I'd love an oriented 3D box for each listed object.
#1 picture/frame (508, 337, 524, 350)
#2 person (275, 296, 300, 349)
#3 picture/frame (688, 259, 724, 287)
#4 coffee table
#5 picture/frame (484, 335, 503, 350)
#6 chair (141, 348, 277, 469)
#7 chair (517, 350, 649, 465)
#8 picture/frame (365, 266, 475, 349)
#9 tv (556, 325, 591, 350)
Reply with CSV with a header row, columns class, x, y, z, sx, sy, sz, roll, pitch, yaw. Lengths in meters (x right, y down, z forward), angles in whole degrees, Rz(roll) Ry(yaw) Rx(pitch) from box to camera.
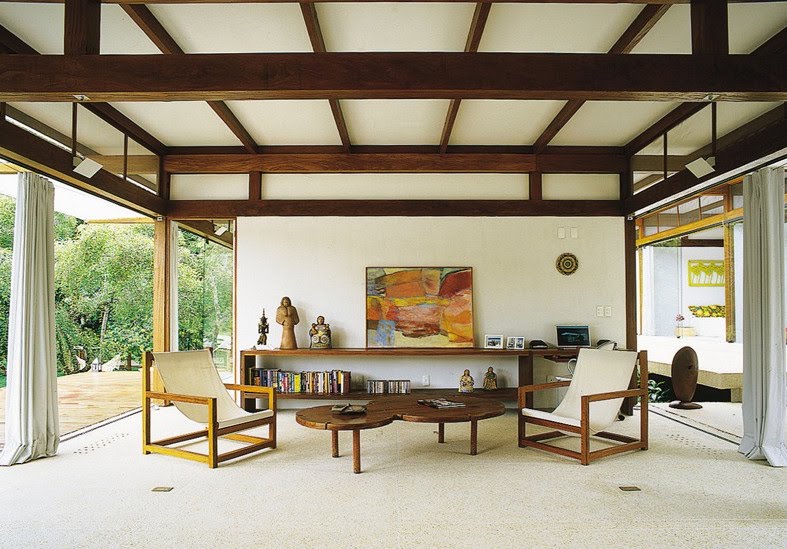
class,x,y,z,sx,sy,sz,roll,pitch,yaw
picture/frame,1.651,0.927,7.932,0.199,0.101,0.017,1,-12,15
person,-1.435,0.641,7.966,0.314,0.681,0.468,-1,9,-10
picture/frame,6.041,-0.022,11.376,0.555,0.607,0.550,7,11,36
coffee table,0.034,1.649,6.282,2.133,0.574,1.003,-2,8,-15
picture/frame,1.361,0.917,7.992,0.251,0.129,0.021,1,-23,5
chair,-2.062,1.437,6.817,1.569,1.221,1.366,-3,-3,30
chair,2.288,1.396,6.625,1.628,1.087,1.095,-7,11,-41
picture/frame,0.333,0.437,8.145,1.940,1.110,0.026,-3,-6,43
tv,2.433,0.843,8.041,0.642,0.303,0.288,1,-9,1
